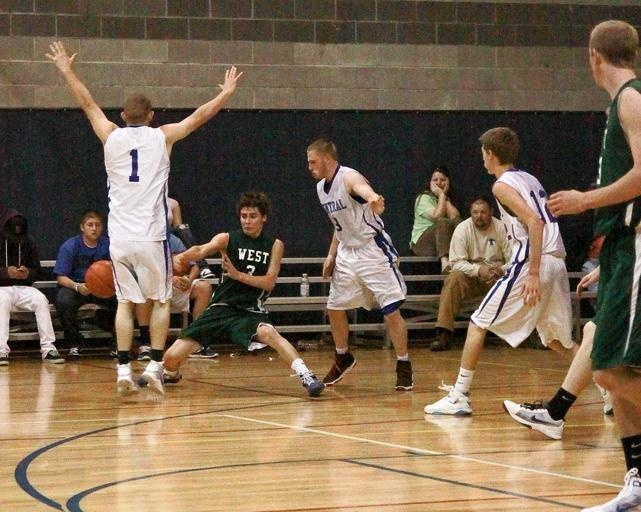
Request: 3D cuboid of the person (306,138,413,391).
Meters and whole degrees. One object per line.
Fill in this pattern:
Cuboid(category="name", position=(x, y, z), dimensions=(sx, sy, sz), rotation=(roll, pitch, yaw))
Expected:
Cuboid(category="person", position=(0.254, 0.066, 6.827), dimensions=(0.776, 1.825, 0.704), rotation=(2, 4, 29))

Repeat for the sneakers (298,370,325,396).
Cuboid(category="sneakers", position=(-0.060, 0.883, 6.555), dimensions=(0.099, 0.113, 0.262), rotation=(-48, 5, -10))

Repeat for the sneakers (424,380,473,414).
Cuboid(category="sneakers", position=(0.849, 0.938, 6.132), dimensions=(0.361, 0.262, 0.136), rotation=(2, -3, 5))

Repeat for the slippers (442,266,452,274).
Cuboid(category="slippers", position=(1.231, 0.139, 9.147), dimensions=(0.048, 0.064, 0.071), rotation=(2, -42, -2))

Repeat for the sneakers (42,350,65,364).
Cuboid(category="sneakers", position=(-2.376, 0.894, 8.359), dimensions=(0.085, 0.114, 0.229), rotation=(3, -5, -42))

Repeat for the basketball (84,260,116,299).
Cuboid(category="basketball", position=(-1.867, 0.202, 7.961), dimensions=(0.197, 0.252, 0.203), rotation=(-33, -15, 7))

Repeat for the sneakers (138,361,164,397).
Cuboid(category="sneakers", position=(-1.147, 0.846, 6.486), dimensions=(0.129, 0.167, 0.329), rotation=(17, -22, 14))

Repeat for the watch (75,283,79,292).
Cuboid(category="watch", position=(-2.198, 0.285, 8.496), dimensions=(0.024, 0.071, 0.058), rotation=(-1, 27, 3))

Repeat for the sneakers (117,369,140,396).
Cuboid(category="sneakers", position=(-1.331, 0.868, 6.447), dimensions=(0.103, 0.128, 0.259), rotation=(-7, -19, 0))

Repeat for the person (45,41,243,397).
Cuboid(category="person", position=(-1.197, -0.257, 6.559), dimensions=(1.236, 2.477, 0.475), rotation=(-1, -1, -9))

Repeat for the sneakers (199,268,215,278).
Cuboid(category="sneakers", position=(-1.078, 0.161, 8.904), dimensions=(0.066, 0.079, 0.167), rotation=(0, -8, -31))

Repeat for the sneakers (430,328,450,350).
Cuboid(category="sneakers", position=(1.181, 0.826, 9.158), dimensions=(0.110, 0.239, 0.323), rotation=(-1, -9, 25))
